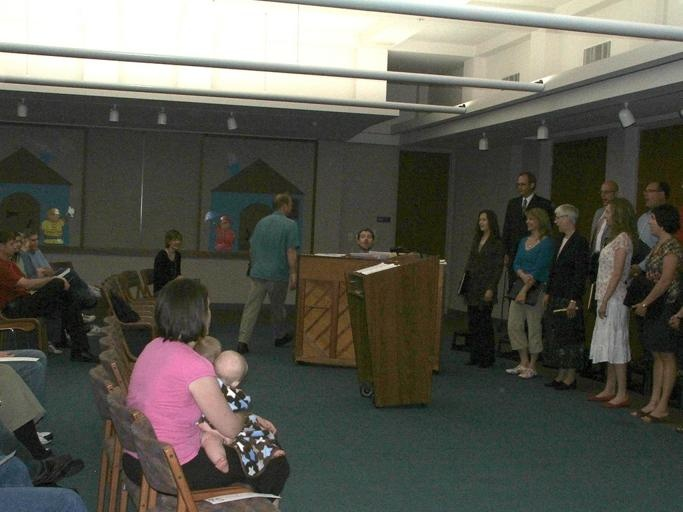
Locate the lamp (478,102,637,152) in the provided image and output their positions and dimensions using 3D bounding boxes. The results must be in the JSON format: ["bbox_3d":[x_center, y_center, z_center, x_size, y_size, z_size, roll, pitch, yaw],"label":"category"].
[{"bbox_3d":[3.450,-1.919,8.784,1.317,0.433,3.244,-1,7,-23],"label":"lamp"}]

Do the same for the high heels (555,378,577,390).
[{"bbox_3d":[2.675,1.529,6.792,0.206,0.091,0.112,3,-5,-9],"label":"high heels"}]

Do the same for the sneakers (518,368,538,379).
[{"bbox_3d":[2.364,1.484,7.248,0.185,0.082,0.105,-1,5,-33],"label":"sneakers"}]

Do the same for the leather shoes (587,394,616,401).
[{"bbox_3d":[2.881,1.571,6.322,0.275,0.080,0.098,3,-2,5],"label":"leather shoes"}]

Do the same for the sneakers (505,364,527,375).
[{"bbox_3d":[2.247,1.479,7.409,0.278,0.123,0.104,1,0,-5],"label":"sneakers"}]

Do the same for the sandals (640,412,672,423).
[{"bbox_3d":[3.173,1.631,5.761,0.220,0.055,0.105,1,-2,-11],"label":"sandals"}]

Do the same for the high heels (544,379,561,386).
[{"bbox_3d":[2.536,1.527,6.875,0.176,0.073,0.068,-1,-6,1],"label":"high heels"}]
